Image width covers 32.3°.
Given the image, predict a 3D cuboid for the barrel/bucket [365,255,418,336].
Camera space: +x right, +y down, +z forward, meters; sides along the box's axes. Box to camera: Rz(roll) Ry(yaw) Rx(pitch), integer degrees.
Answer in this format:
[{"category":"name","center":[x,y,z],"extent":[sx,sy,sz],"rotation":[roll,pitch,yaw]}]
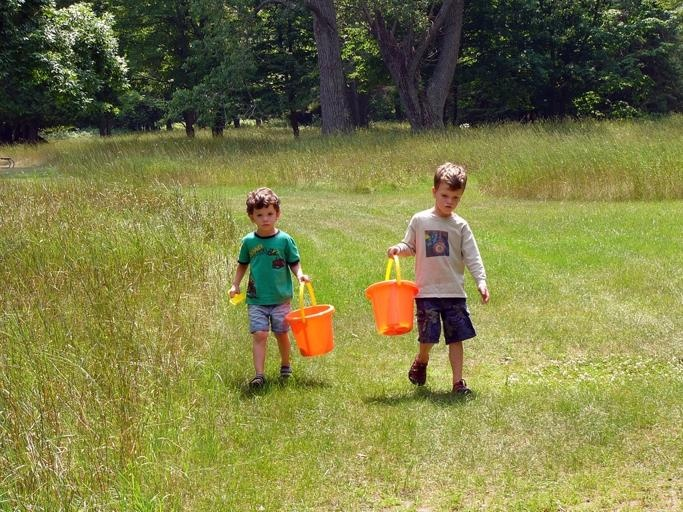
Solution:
[{"category":"barrel/bucket","center":[0.946,0.779,21.833],"extent":[1.148,1.689,1.296],"rotation":[2,-11,-9]}]

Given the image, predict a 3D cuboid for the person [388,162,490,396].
[{"category":"person","center":[1.781,0.396,21.172],"extent":[1.426,4.028,0.688],"rotation":[-3,9,2]}]

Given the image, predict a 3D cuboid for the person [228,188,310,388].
[{"category":"person","center":[-1.345,0.534,21.421],"extent":[1.175,3.488,0.684],"rotation":[-5,9,-7]}]

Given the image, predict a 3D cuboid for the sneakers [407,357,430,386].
[{"category":"sneakers","center":[1.356,2.122,21.419],"extent":[0.206,0.620,0.247],"rotation":[2,10,-24]}]

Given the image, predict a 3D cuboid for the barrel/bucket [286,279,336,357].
[{"category":"barrel/bucket","center":[-0.596,1.202,21.877],"extent":[0.891,1.346,1.082],"rotation":[-16,1,16]}]
